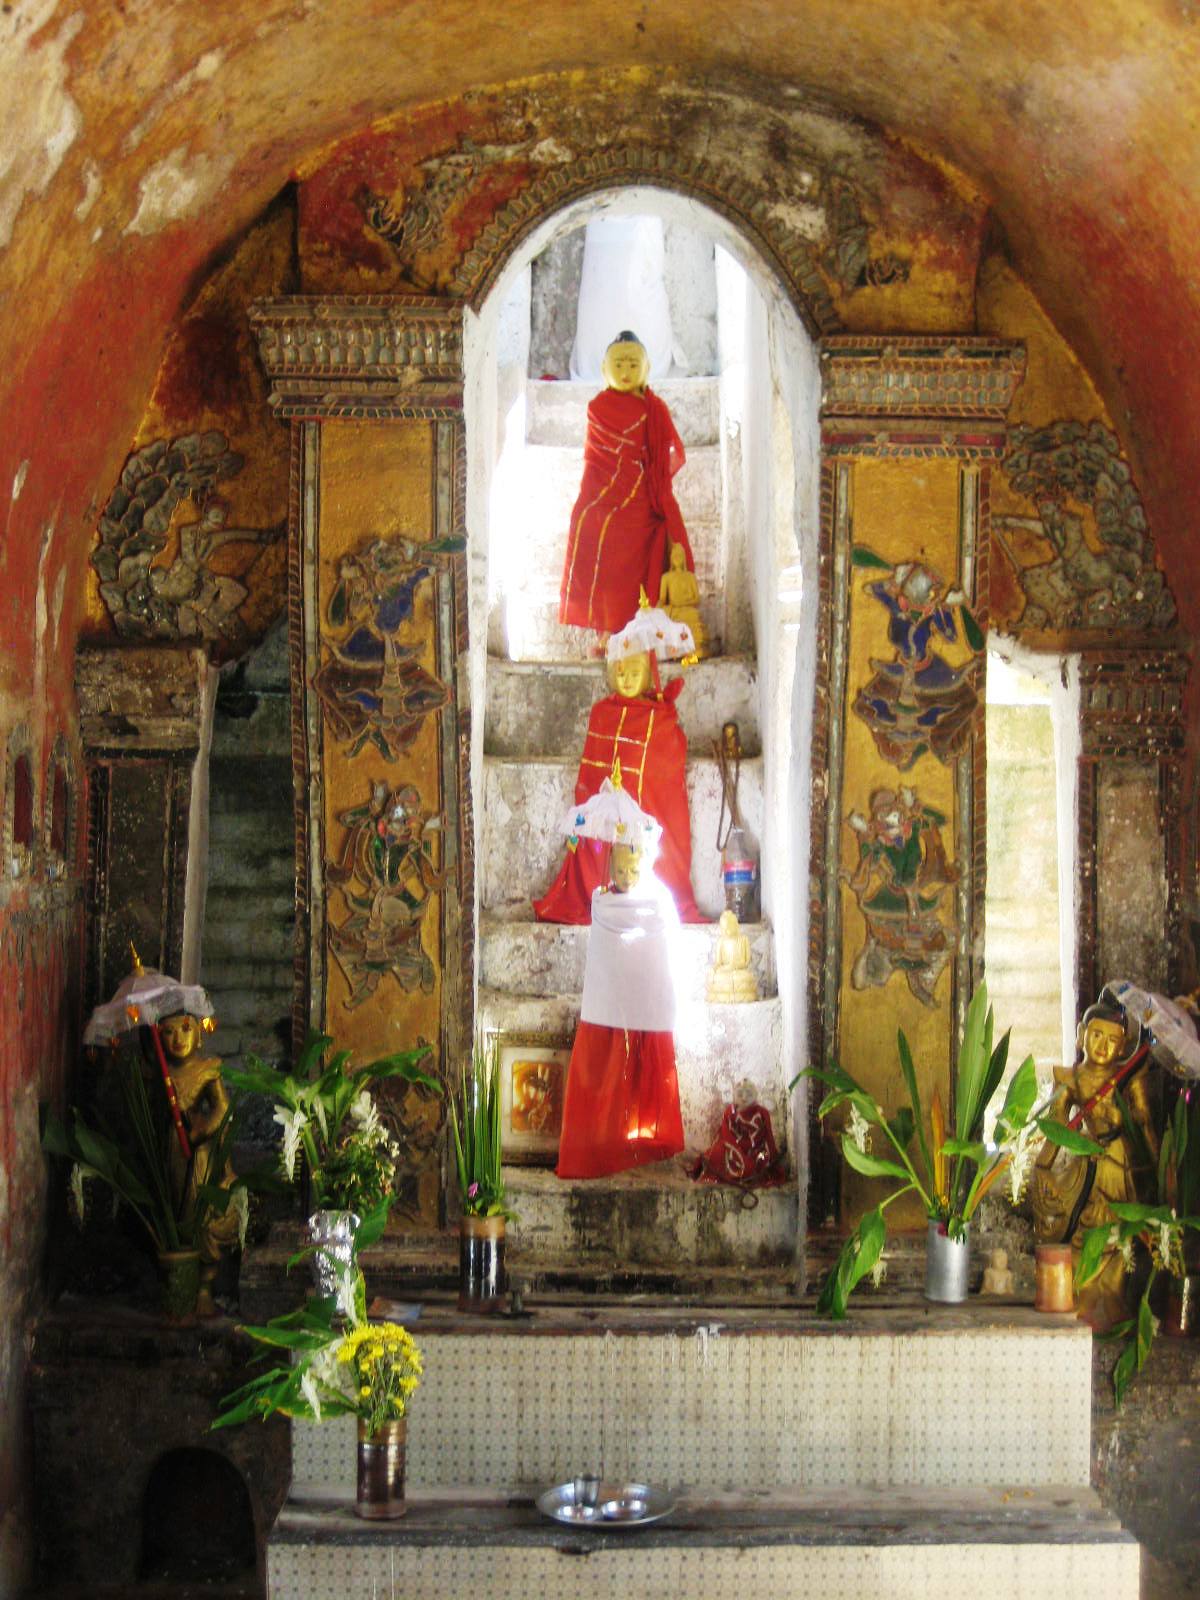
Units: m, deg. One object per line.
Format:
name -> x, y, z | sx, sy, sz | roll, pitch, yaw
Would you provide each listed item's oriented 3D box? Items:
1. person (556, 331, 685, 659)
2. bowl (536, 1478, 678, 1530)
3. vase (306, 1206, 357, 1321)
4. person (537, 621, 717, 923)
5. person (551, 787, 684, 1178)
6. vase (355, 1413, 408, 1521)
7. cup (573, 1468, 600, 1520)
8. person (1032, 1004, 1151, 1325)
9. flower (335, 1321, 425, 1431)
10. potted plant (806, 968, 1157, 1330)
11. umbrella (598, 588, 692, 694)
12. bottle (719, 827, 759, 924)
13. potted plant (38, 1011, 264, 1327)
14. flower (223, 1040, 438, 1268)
person -> 0.098, -0.888, 7.133 | 0.332, 0.916, 0.233 | 4, 32, 3
bowl -> 0.003, 1.462, 5.257 | 0.273, 0.090, 0.242 | -3, -11, 16
vase -> -0.581, 1.006, 5.467 | 0.108, 0.229, 0.258 | 1, -10, -7
person -> 0.063, -0.130, 6.838 | 0.399, 0.848, 0.286 | 3, 17, 2
person -> 0.049, 0.451, 6.451 | 0.312, 1.024, 0.169 | 0, -9, 2
vase -> -0.463, 1.384, 5.289 | 0.118, 0.215, 0.126 | 3, 4, 33
cup -> -0.033, 1.453, 5.238 | 0.052, 0.114, 0.053 | -2, -20, -1
person -> 1.188, 0.833, 6.038 | 0.266, 0.901, 0.194 | 7, 24, 19
flower -> -0.463, 1.187, 5.212 | 0.162, 0.214, 0.255 | 1, -10, -6
potted plant -> 0.833, 0.818, 5.952 | 0.627, 0.768, 0.678 | -1, -9, 5
umbrella -> 0.137, -0.475, 6.840 | 0.159, 0.207, 0.185 | -14, -13, 21
bottle -> 0.388, 0.198, 6.964 | 0.104, 0.280, 0.093 | 0, -9, 1
potted plant -> -1.114, 0.890, 5.995 | 0.534, 0.973, 0.581 | 1, -9, -4
flower -> -0.612, 0.841, 5.758 | 0.353, 0.395, 0.392 | -1, 15, -14
